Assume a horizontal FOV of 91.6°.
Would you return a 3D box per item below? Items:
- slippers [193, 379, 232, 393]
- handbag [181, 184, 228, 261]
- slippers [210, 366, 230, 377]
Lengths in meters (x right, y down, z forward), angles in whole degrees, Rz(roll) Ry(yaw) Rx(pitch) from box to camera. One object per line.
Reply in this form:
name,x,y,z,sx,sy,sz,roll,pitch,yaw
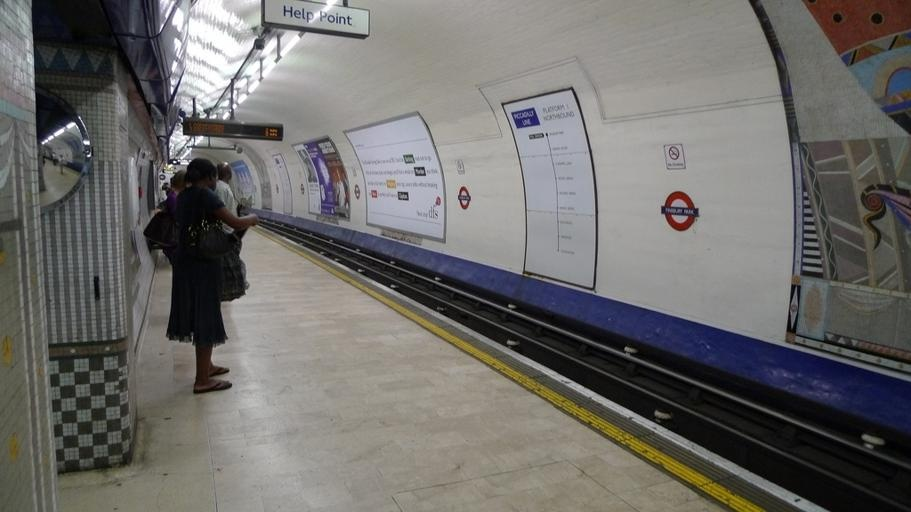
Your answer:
slippers,-3.076,1.610,5.639,0.360,0.087,0.171,-2,3,-32
handbag,-2.991,-0.391,5.187,0.677,0.829,0.350,12,17,34
slippers,-3.202,1.546,6.015,0.280,0.072,0.099,-1,4,-31
